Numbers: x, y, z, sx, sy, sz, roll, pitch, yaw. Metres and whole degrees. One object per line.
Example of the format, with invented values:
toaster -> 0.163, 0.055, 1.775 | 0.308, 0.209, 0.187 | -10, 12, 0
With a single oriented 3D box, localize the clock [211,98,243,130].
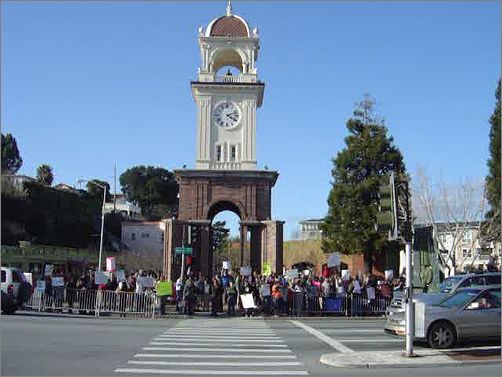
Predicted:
clock -> -1.954, -5.537, 59.192 | 1.835, 2.320, 0.501 | 4, -2, 7
